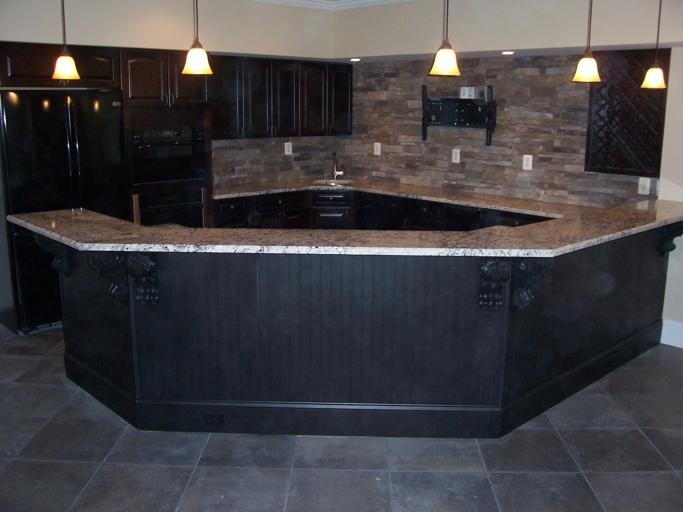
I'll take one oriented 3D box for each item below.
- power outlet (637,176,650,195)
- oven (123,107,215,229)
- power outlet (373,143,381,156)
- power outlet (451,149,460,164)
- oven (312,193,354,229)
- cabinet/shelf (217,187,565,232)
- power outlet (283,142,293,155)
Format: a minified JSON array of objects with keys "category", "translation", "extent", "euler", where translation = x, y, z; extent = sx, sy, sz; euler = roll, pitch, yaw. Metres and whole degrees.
[{"category":"power outlet","translation":[2.631,-0.615,4.642],"extent":[0.020,0.202,0.114],"euler":[-18,24,-30]},{"category":"oven","translation":[-1.620,-0.694,5.350],"extent":[0.837,1.535,0.515],"euler":[-3,-2,-2]},{"category":"power outlet","translation":[0.439,-1.289,6.466],"extent":[0.139,0.193,0.020],"euler":[10,18,35]},{"category":"power outlet","translation":[1.266,-1.093,5.853],"extent":[0.107,0.162,0.030],"euler":[9,21,27]},{"category":"oven","translation":[-0.071,-0.492,6.274],"extent":[0.440,0.639,0.411],"euler":[2,-2,-2]},{"category":"cabinet/shelf","translation":[0.236,-0.426,5.683],"extent":[2.893,0.476,0.825],"euler":[3,19,11]},{"category":"power outlet","translation":[-0.648,-1.314,6.517],"extent":[0.024,0.181,0.153],"euler":[6,10,44]}]
